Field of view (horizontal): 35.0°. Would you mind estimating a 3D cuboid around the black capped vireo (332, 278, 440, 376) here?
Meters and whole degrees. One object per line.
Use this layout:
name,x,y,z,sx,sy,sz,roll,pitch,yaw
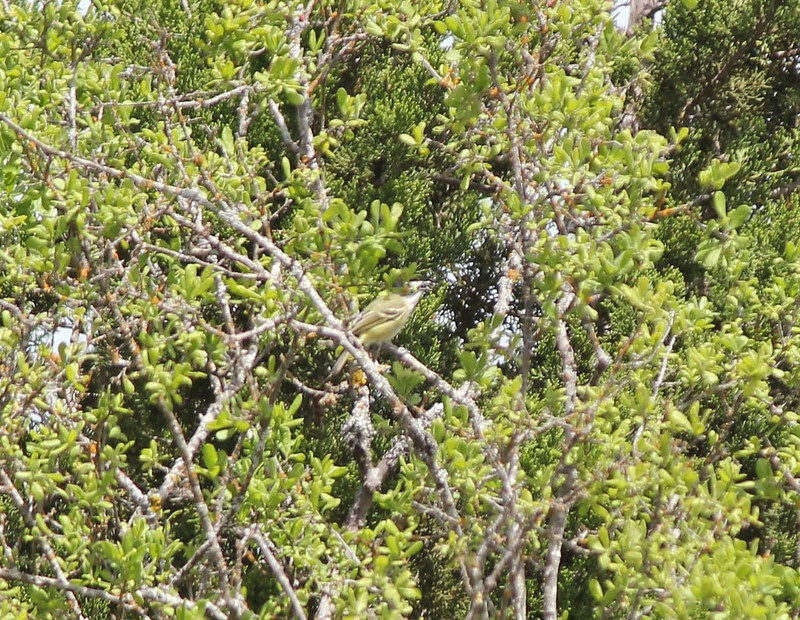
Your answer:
black capped vireo,-0.100,0.038,7.609,0.490,0.585,0.564,9,3,-4
